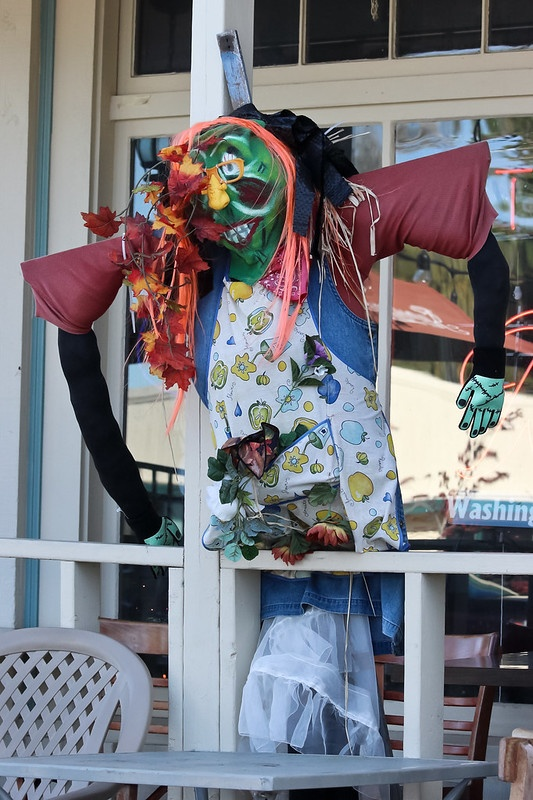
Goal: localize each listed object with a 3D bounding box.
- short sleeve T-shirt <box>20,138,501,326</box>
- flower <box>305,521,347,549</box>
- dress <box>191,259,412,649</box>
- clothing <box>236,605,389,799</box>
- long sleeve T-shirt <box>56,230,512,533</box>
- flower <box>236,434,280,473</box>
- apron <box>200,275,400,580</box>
[{"bbox_3d":[-0.031,-0.245,2.227,0.882,0.214,0.162,-12,-22,-1],"label":"short sleeve T-shirt"},{"bbox_3d":[0.093,0.214,2.159,0.051,0.023,0.050,4,-5,16],"label":"flower"},{"bbox_3d":[0.056,0.075,2.228,0.280,0.714,0.199,0,-6,-28],"label":"dress"},{"bbox_3d":[0.077,0.458,2.154,0.241,0.306,0.160,4,2,-4],"label":"clothing"},{"bbox_3d":[0.070,0.009,2.323,0.757,0.374,0.304,-19,-39,7],"label":"long sleeve T-shirt"},{"bbox_3d":[-0.008,0.084,2.111,0.055,0.063,0.022,0,-3,-9],"label":"flower"},{"bbox_3d":[0.053,0.034,2.168,0.326,0.456,0.121,-1,2,-3],"label":"apron"}]
